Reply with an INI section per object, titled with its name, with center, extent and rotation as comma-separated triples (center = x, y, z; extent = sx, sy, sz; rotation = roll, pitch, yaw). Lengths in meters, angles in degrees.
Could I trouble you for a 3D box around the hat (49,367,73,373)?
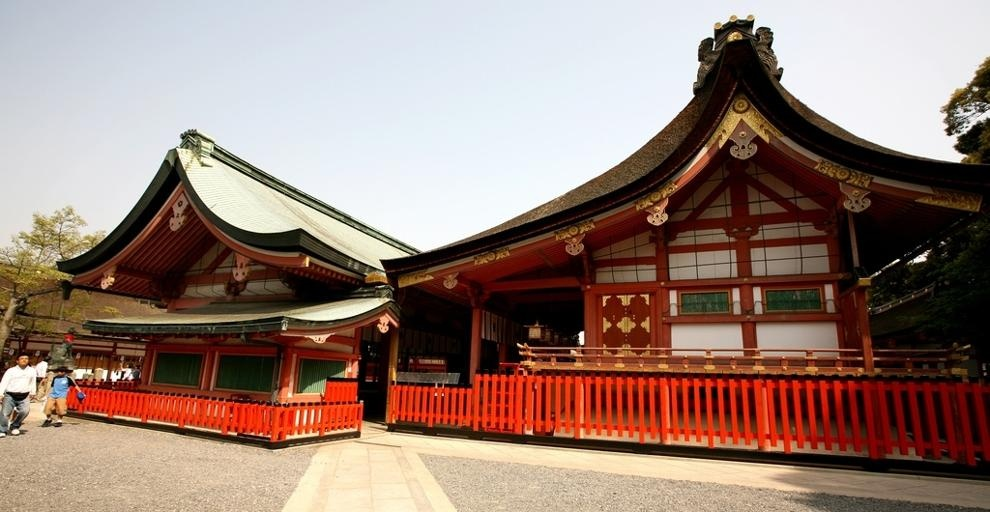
[hat]
center = -15.457, 4.064, 20.051
extent = 0.609, 0.119, 0.562
rotation = 2, -10, -18
